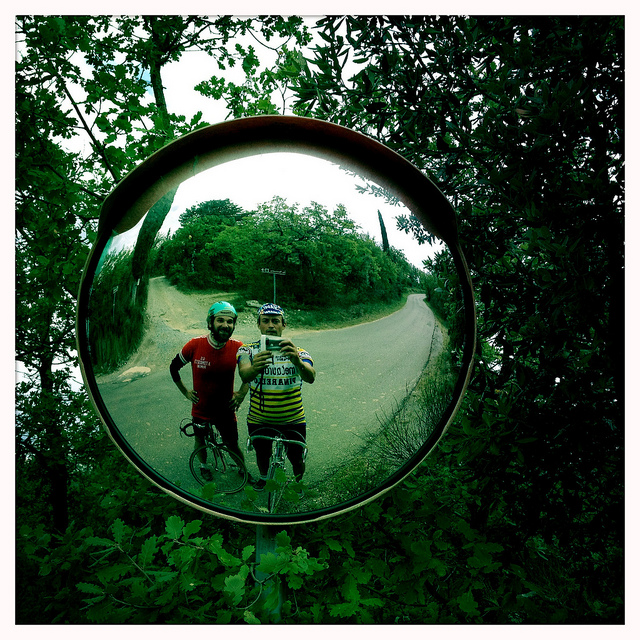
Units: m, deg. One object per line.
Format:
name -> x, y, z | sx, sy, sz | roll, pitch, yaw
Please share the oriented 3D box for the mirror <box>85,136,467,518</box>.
mirror -> -0.172, 0.078, 2.420 | 1.946, 2.185, 0.306 | 0, 1, -4
